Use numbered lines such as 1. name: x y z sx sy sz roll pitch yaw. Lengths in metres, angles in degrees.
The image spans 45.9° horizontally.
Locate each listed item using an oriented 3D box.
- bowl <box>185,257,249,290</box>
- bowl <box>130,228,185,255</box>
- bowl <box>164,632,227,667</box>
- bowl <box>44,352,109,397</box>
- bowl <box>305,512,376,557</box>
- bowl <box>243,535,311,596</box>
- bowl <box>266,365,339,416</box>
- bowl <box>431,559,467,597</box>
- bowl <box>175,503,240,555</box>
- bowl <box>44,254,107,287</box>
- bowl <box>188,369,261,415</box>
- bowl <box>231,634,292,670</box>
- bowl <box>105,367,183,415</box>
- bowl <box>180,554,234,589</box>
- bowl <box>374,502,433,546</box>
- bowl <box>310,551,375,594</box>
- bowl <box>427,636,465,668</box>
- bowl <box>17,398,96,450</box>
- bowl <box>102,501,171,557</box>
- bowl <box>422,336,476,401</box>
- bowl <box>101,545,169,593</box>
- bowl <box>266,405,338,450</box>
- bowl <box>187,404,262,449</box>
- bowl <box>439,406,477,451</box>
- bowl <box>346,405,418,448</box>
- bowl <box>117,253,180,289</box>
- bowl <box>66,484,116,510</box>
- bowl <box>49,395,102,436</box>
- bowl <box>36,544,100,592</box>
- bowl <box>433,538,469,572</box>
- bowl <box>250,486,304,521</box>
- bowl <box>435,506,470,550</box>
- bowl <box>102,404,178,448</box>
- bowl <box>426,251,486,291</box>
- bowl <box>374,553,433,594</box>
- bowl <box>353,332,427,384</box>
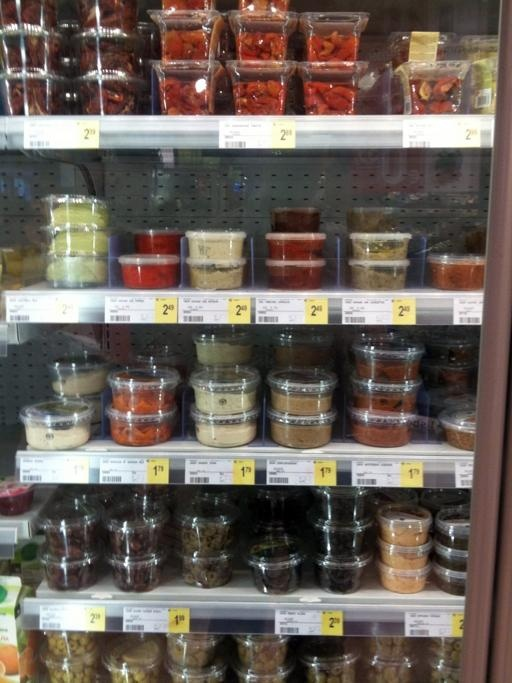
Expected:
1. bowl: -0.115 -0.186 1.589 0.109 0.051 0.106 0 11 0
2. bowl: -0.281 -0.282 1.705 0.100 0.054 0.094 0 8 0
3. bowl: -0.169 0.854 1.681 0.141 0.063 0.144 0 -8 0
4. bowl: -0.512 0.087 1.855 0.185 0.099 0.182 -5 19 2
5. bowl: 0.236 0.552 1.750 0.214 0.111 0.208 0 -8 0
6. bowl: 0.052 0.629 1.704 0.226 0.101 0.223 0 0 0
7. bowl: 0.125 0.139 1.696 0.197 0.097 0.200 2 7 0
8. bowl: 0.531 0.650 1.656 0.093 0.054 0.090 0 -2 0
9. bowl: -0.136 0.536 1.734 0.176 0.089 0.169 -1 -7 0
10. bowl: -0.483 -0.185 1.632 0.107 0.063 0.106 0 6 0
11. bowl: -0.085 0.137 1.694 0.205 0.091 0.199 -2 6 0
12. bowl: 0.018 0.856 1.669 0.141 0.068 0.135 1 -12 0
13. bowl: -0.292 0.124 1.668 0.145 0.070 0.146 2 18 -1
14. bowl: -0.130 0.629 1.679 0.114 0.067 0.114 -1 -4 0
15. bowl: 0.412 0.501 1.700 0.111 0.060 0.107 1 1 0
16. bowl: 0.239 0.611 1.666 0.119 0.069 0.120 1 -2 0
17. bowl: 0.531 0.845 1.690 0.101 0.103 0.027 6 19 20
18. bowl: -0.553 0.228 1.677 0.208 0.095 0.200 2 8 0
19. bowl: -0.353 0.530 1.712 0.190 0.107 0.184 0 3 0
20. bowl: 0.558 0.074 1.833 0.168 0.148 0.163 0 5 0
21. bowl: -0.331 0.624 1.664 0.137 0.070 0.136 0 -4 0
22. bowl: 0.127 0.230 1.659 0.182 0.094 0.137 -1 10 2
23. bowl: -0.093 0.225 1.638 0.124 0.052 0.125 -1 10 0
24. bowl: 0.540 0.230 1.616 0.096 0.053 0.101 -2 6 0
25. bowl: 0.347 0.229 1.647 0.176 0.097 0.074 -1 10 4
26. bowl: -0.283 -0.184 1.595 0.110 0.055 0.119 -1 5 0
27. bowl: -0.508 0.462 1.830 0.095 0.032 0.090 6 1 0
28. bowl: -0.495 0.190 1.708 0.130 0.088 0.126 1 3 0
29. bowl: -0.507 0.622 1.672 0.127 0.065 0.126 1 0 0
30. bowl: 0.533 0.579 1.660 0.077 0.042 0.077 1 -4 0
31. bowl: 0.074 0.486 1.805 0.120 0.078 0.111 0 -1 0
32. bowl: 0.565 0.508 1.694 0.111 0.064 0.108 -3 0 0
33. bowl: -0.322 0.217 1.644 0.128 0.048 0.124 0 1 0
34. bowl: 0.527 -0.188 1.587 0.111 0.064 0.109 0 8 0
35. bowl: 0.404 0.638 1.662 0.095 0.043 0.091 1 1 0
36. bowl: 0.375 0.051 1.706 0.194 0.090 0.185 1 8 0
